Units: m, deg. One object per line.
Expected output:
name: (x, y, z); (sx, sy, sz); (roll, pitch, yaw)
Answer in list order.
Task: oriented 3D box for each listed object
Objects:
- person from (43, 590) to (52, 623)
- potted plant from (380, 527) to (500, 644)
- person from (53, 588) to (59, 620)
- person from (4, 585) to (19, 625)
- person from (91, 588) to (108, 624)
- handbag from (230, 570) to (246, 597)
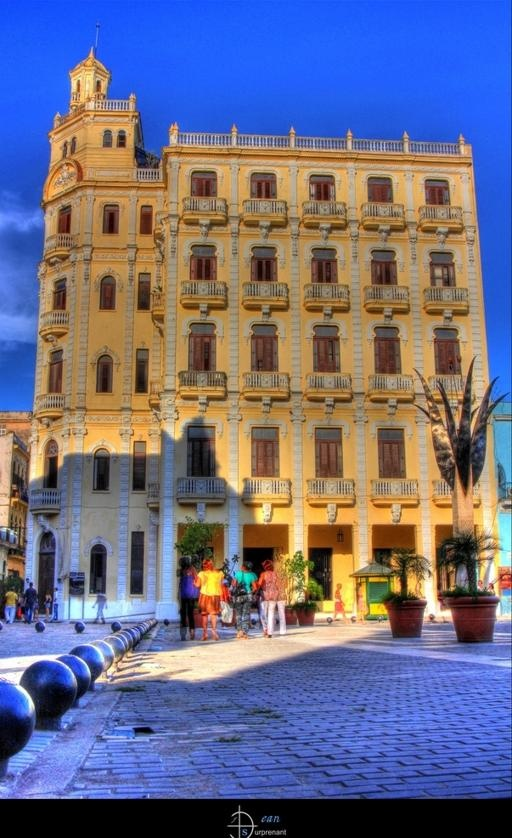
person: (-13.536, 12.019, 41.137); (0.486, 1.496, 2.603); (3, -14, -19)
potted plant: (5.335, 4.596, 17.465); (2.099, 2.877, 3.520); (6, -14, -29)
person: (-12.667, 11.560, 39.982); (0.341, 1.849, 1.252); (6, -14, -29)
person: (-12.756, 9.749, 32.819); (0.515, 1.676, 2.541); (4, -14, -22)
person: (-9.959, 11.678, 40.100); (0.734, 1.806, 0.807); (-5, -13, 17)
handbag: (-0.554, 5.110, 19.695); (0.576, 1.234, 0.824); (2, -12, -1)
